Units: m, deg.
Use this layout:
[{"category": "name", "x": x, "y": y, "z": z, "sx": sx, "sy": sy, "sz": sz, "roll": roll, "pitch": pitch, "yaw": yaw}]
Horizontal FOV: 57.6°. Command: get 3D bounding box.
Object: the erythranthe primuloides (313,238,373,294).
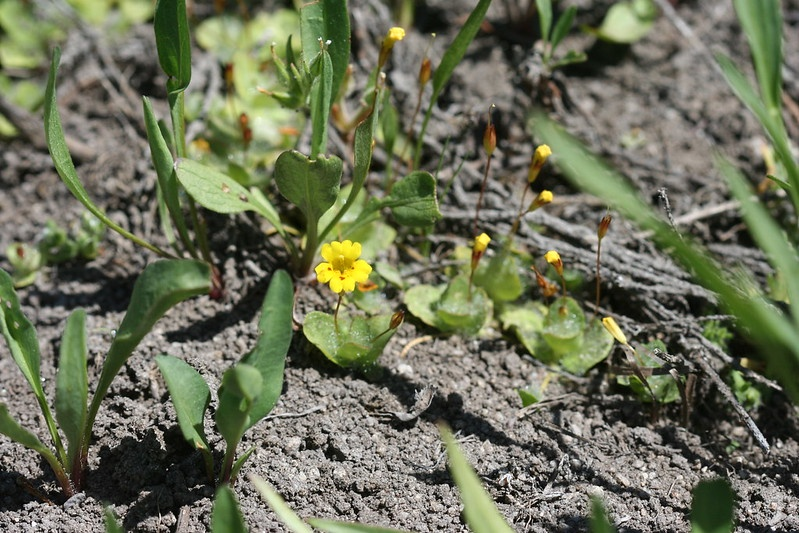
[{"category": "erythranthe primuloides", "x": -0.243, "y": -0.032, "z": 2.983, "sx": 0.162, "sy": 0.194, "sz": 0.075, "roll": 15, "pitch": 50, "yaw": -38}]
